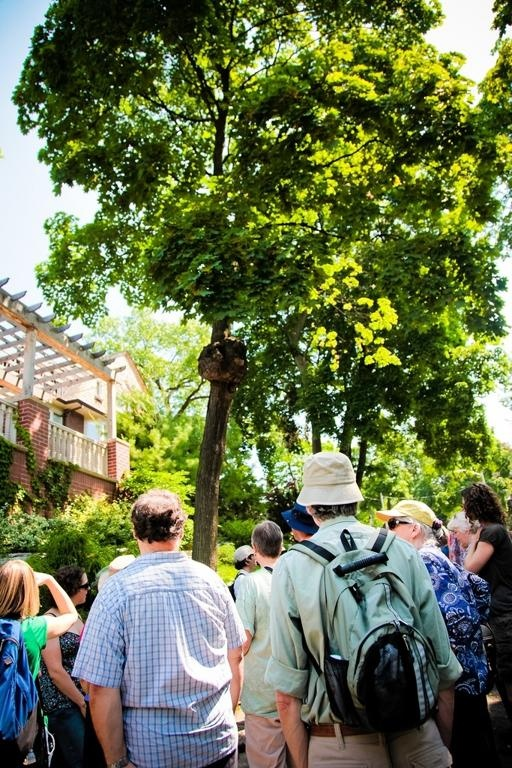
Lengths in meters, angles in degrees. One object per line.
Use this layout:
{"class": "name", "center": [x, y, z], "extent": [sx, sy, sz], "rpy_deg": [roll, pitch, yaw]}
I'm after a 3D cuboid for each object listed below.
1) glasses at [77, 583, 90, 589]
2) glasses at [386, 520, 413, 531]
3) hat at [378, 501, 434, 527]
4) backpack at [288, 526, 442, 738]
{"class": "glasses", "center": [-1.147, 1.337, 4.446], "extent": [0.059, 0.017, 0.056], "rpy_deg": [-7, -10, 26]}
{"class": "glasses", "center": [0.791, 0.795, 3.822], "extent": [0.114, 0.031, 0.086], "rpy_deg": [5, -21, -8]}
{"class": "hat", "center": [0.850, 0.725, 3.861], "extent": [0.300, 0.099, 0.186], "rpy_deg": [4, -22, 8]}
{"class": "backpack", "center": [0.417, 0.887, 2.440], "extent": [0.421, 0.675, 0.390], "rpy_deg": [-4, -18, -21]}
